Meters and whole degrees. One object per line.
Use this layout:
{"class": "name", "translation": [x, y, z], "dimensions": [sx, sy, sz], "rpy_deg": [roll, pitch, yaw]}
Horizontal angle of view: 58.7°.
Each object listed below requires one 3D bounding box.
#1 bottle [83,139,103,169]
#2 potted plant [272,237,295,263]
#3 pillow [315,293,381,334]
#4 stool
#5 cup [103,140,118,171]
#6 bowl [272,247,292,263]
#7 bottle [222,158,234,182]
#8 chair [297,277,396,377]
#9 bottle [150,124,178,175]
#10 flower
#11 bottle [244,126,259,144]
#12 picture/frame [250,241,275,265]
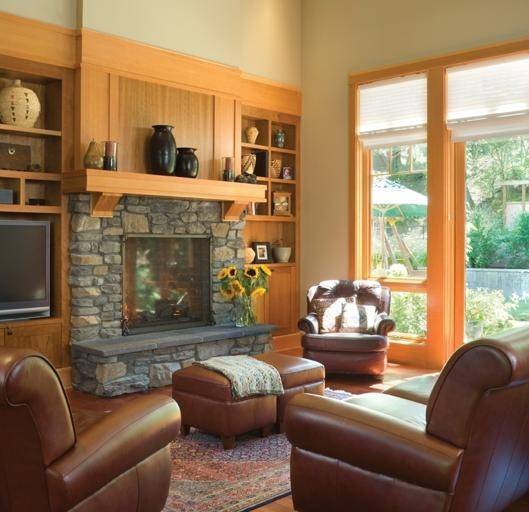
{"class": "bottle", "translation": [-1.524, -0.903, 4.179], "dimensions": [0.153, 0.242, 0.296], "rpy_deg": [3, 0, -5]}
{"class": "potted plant", "translation": [0.229, -0.083, 6.198], "dimensions": [0.339, 0.249, 0.326], "rpy_deg": [2, -8, -7]}
{"class": "pillow", "translation": [0.830, 0.615, 4.817], "dimensions": [0.490, 0.123, 0.395], "rpy_deg": [-2, 44, 3]}
{"class": "stool", "translation": [-0.222, 0.794, 3.195], "dimensions": [0.606, 0.391, 0.935], "rpy_deg": [-1, -2, 40]}
{"class": "cup", "translation": [-1.385, -0.896, 4.211], "dimensions": [0.117, 0.241, 0.117], "rpy_deg": [3, 0, 0]}
{"class": "bowl", "translation": [0.227, -0.021, 6.202], "dimensions": [0.234, 0.152, 0.210], "rpy_deg": [1, -5, -7]}
{"class": "bottle", "translation": [-0.395, -0.951, 5.157], "dimensions": [0.121, 0.255, 0.086], "rpy_deg": [3, 0, -12]}
{"class": "chair", "translation": [0.858, 0.725, 4.902], "dimensions": [0.968, 0.852, 0.916], "rpy_deg": [0, 1, 6]}
{"class": "bottle", "translation": [-1.006, -1.056, 4.635], "dimensions": [0.270, 0.468, 0.243], "rpy_deg": [3, 0, -11]}
{"class": "flower", "translation": [-0.290, 0.414, 5.067], "dimensions": [0.477, 0.623, 0.570], "rpy_deg": [2, 0, -32]}
{"class": "bottle", "translation": [-0.196, -1.527, 5.974], "dimensions": [0.240, 0.227, 0.214], "rpy_deg": [0, -4, -7]}
{"class": "picture/frame", "translation": [-0.044, -0.035, 6.003], "dimensions": [0.345, 0.290, 0.067], "rpy_deg": [4, -16, -38]}
